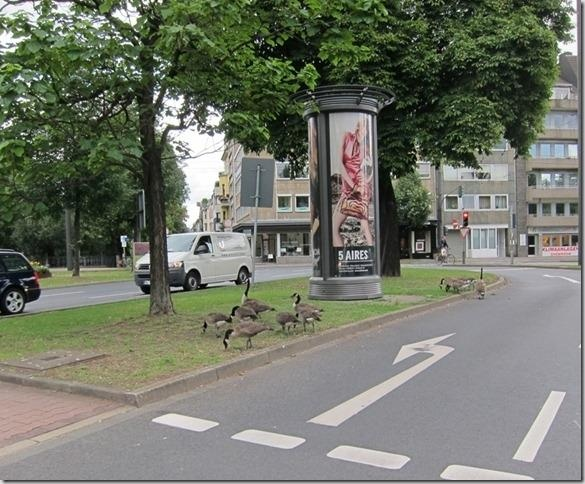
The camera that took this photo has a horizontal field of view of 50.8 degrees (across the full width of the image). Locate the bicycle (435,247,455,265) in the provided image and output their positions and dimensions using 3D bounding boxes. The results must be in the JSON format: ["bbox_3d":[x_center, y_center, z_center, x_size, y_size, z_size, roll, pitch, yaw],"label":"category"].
[{"bbox_3d":[10.710,1.060,42.846,0.957,1.263,1.983,1,1,-30],"label":"bicycle"}]

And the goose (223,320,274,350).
[{"bbox_3d":[-0.748,1.502,9.856,0.812,0.524,0.400,-5,-7,10],"label":"goose"}]

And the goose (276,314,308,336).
[{"bbox_3d":[-0.095,1.462,11.107,0.218,0.467,0.704,-3,-7,-33],"label":"goose"}]

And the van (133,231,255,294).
[{"bbox_3d":[-3.689,0.775,23.955,2.370,2.407,5.217,-3,-3,24],"label":"van"}]

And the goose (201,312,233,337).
[{"bbox_3d":[-1.351,1.457,10.931,0.653,0.451,0.314,-5,-6,33],"label":"goose"}]

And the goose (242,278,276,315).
[{"bbox_3d":[-0.668,1.116,11.686,0.702,0.767,0.266,3,-7,2],"label":"goose"}]
